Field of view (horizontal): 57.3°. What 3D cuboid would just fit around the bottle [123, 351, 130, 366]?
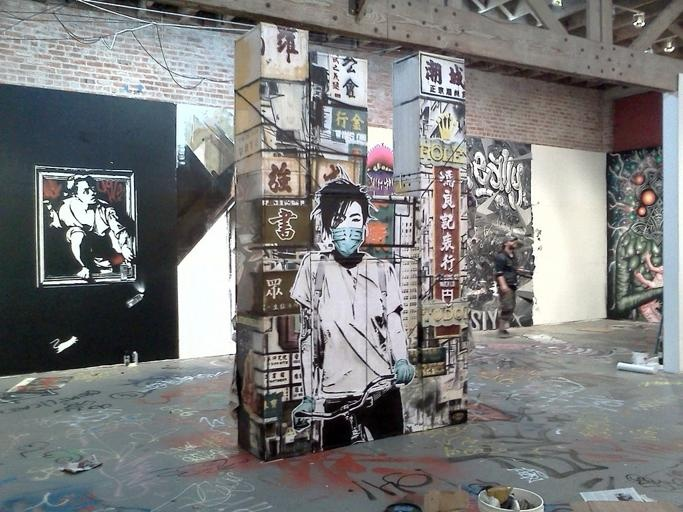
[{"bbox_3d":[-3.100,1.468,9.008,0.086,0.180,0.146,-3,8,-19],"label":"bottle"}]

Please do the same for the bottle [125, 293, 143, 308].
[{"bbox_3d":[-3.017,0.644,9.101,0.256,0.122,0.050,-36,16,-27],"label":"bottle"}]

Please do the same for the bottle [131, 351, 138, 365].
[{"bbox_3d":[-3.000,1.469,9.053,0.090,0.177,0.138,-3,8,-19],"label":"bottle"}]

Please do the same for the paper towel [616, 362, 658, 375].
[{"bbox_3d":[4.058,1.526,8.610,0.519,0.124,0.223,7,11,42],"label":"paper towel"}]

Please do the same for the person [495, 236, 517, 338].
[{"bbox_3d":[2.830,0.560,10.827,0.414,1.709,0.347,-4,8,-22],"label":"person"}]

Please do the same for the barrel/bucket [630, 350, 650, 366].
[{"bbox_3d":[4.194,1.437,8.799,0.201,0.192,0.157,3,-8,-43],"label":"barrel/bucket"}]
